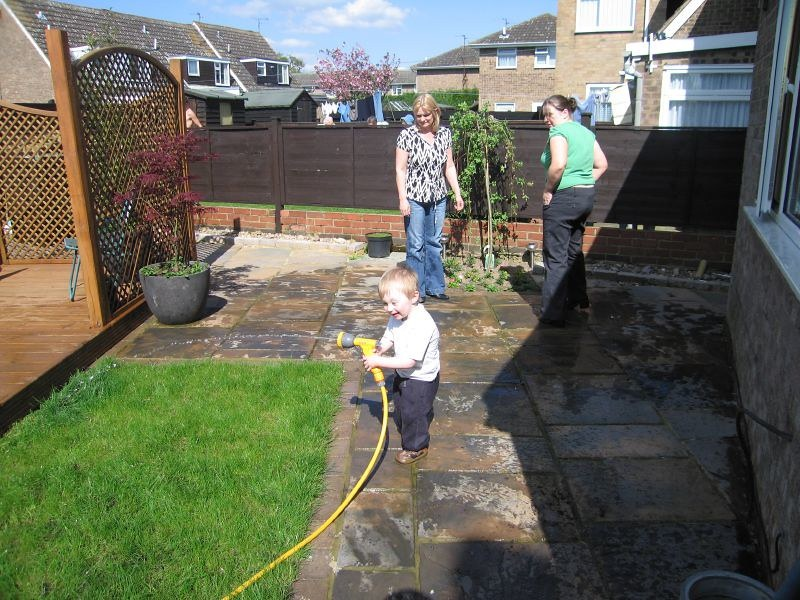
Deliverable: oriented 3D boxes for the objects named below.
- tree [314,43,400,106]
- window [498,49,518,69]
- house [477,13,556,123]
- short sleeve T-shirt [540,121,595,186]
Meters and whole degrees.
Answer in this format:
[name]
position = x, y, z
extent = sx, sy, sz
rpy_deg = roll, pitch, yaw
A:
[tree]
position = -4.173, -19.633, 52.026
extent = 5.172, 4.055, 5.909
rpy_deg = 8, 21, 27
[window]
position = 6.850, -15.198, 37.455
extent = 1.275, 1.097, 0.399
rpy_deg = 1, 7, 13
[house]
position = 7.355, -14.687, 37.668
extent = 4.523, 5.172, 4.303
rpy_deg = 1, 20, 8
[short sleeve T-shirt]
position = 1.668, -1.391, 5.872
extent = 0.395, 0.608, 0.679
rpy_deg = 0, 9, 43
